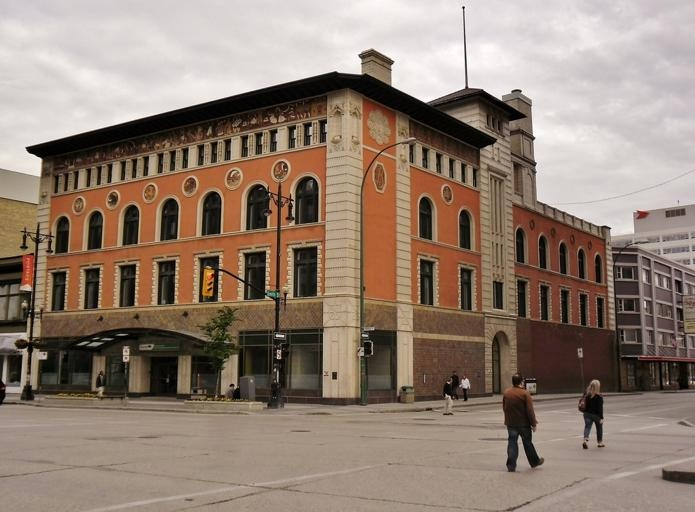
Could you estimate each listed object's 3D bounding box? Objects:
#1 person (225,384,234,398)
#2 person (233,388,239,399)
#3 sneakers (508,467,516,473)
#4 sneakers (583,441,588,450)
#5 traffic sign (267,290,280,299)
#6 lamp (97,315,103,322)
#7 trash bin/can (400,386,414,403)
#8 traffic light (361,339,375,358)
[{"bbox_3d":[-7.032,8.003,41.016,0.577,0.947,1.080,-1,-6,-13],"label":"person"},{"bbox_3d":[-6.159,7.548,38.196,0.346,0.623,0.901,3,-14,-10],"label":"person"},{"bbox_3d":[3.679,4.764,15.459,0.178,0.127,0.259,-3,-14,12],"label":"sneakers"},{"bbox_3d":[6.643,5.261,19.206,0.120,0.154,0.365,-5,-33,10],"label":"sneakers"},{"bbox_3d":[-4.100,2.046,37.721,0.534,0.286,0.721,7,-10,-42],"label":"traffic sign"},{"bbox_3d":[-18.288,4.566,50.895,0.436,0.444,0.203,10,5,29],"label":"lamp"},{"bbox_3d":[3.595,8.574,43.160,0.824,1.271,1.395,-7,-14,25],"label":"trash bin/can"},{"bbox_3d":[1.220,5.198,38.881,0.922,1.308,1.041,-1,-2,11],"label":"traffic light"}]
